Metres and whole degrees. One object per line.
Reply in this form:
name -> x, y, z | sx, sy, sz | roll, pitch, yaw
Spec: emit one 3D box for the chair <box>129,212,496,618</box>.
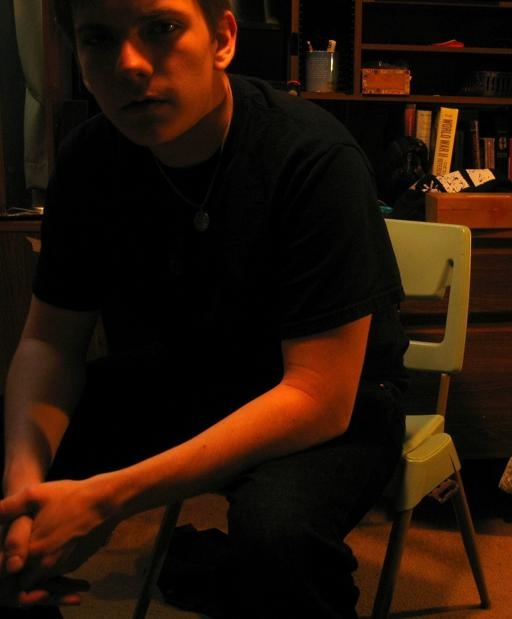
chair -> 0.104, 0.145, 1.521 | 0.646, 1.166, 0.768 | 0, -6, 38
